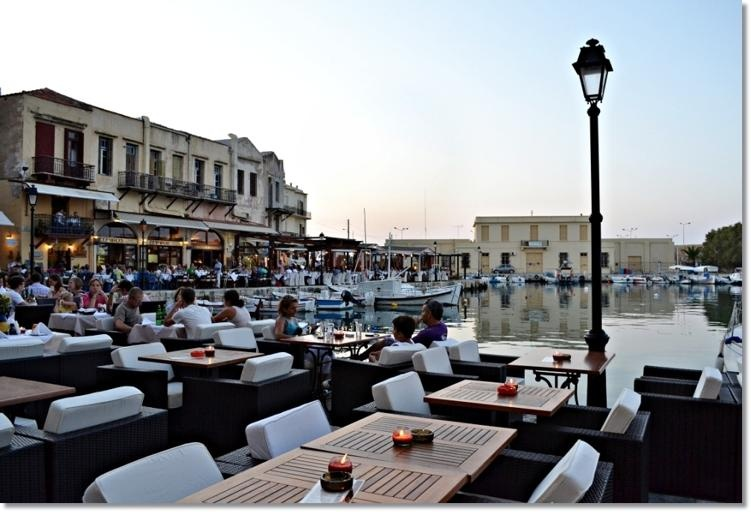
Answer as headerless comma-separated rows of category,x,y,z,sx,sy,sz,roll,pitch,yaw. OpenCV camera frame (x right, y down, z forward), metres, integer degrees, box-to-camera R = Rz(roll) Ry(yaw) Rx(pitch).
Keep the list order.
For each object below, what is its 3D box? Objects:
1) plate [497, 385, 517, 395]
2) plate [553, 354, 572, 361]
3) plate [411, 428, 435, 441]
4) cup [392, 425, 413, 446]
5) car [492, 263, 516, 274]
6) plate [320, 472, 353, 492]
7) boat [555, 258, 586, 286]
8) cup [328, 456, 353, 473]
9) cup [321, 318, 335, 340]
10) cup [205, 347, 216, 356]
plate,1.503,1.548,7.395,0.139,0.059,0.150,-1,3,23
plate,2.649,1.471,9.180,0.150,0.042,0.153,-1,0,0
plate,0.458,1.764,6.312,0.218,0.106,0.240,-1,-2,6
cup,0.255,1.745,6.212,0.143,0.122,0.146,1,-6,0
car,18.167,1.991,91.831,2.570,1.412,1.449,3,4,3
plate,-0.334,1.922,5.465,0.171,0.063,0.174,-1,1,0
boat,25.814,2.412,86.403,2.777,3.769,9.297,-2,-2,19
cup,-0.315,1.812,5.628,0.160,0.166,0.163,0,-10,0
cup,-0.852,1.274,10.987,0.262,0.344,0.291,0,2,25
cup,-2.383,1.386,9.319,0.122,0.122,0.124,1,6,0
